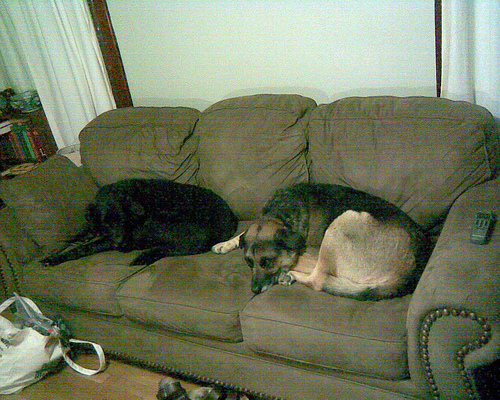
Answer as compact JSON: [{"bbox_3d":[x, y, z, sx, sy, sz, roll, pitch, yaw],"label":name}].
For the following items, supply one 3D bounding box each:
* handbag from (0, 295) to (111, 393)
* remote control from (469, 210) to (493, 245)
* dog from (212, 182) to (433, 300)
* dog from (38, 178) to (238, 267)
[{"bbox_3d":[-0.988,0.703,2.377,0.659,0.148,0.508,9,11,-17],"label":"handbag"},{"bbox_3d":[0.919,0.109,1.933,0.100,0.048,0.135,13,62,36],"label":"remote control"},{"bbox_3d":[0.379,0.172,2.207,0.851,0.387,0.539,1,28,14],"label":"dog"},{"bbox_3d":[-0.538,0.055,2.722,1.117,0.279,0.661,-12,18,-4],"label":"dog"}]
